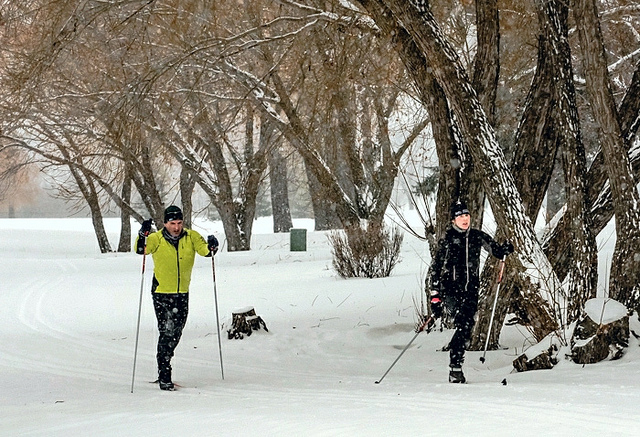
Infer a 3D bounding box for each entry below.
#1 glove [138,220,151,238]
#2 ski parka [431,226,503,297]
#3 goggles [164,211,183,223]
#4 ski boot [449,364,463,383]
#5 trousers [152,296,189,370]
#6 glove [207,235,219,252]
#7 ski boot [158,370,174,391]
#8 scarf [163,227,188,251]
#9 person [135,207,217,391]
[{"bbox_3d":[-2.681,0.163,11.330,0.167,0.246,0.093,12,-1,1],"label":"glove"},{"bbox_3d":[2.206,0.653,11.181,1.065,1.024,0.343,-2,6,-9],"label":"ski parka"},{"bbox_3d":[-2.198,-0.040,11.098,0.194,0.096,0.196,-2,-6,-29],"label":"goggles"},{"bbox_3d":[2.039,2.296,10.953,0.184,0.237,0.191,0,6,11],"label":"ski boot"},{"bbox_3d":[-2.243,1.717,11.222,0.430,1.392,0.548,4,6,13],"label":"trousers"},{"bbox_3d":[-1.608,0.376,11.098,0.155,0.229,0.087,0,7,11],"label":"glove"},{"bbox_3d":[-2.273,2.394,10.943,0.176,0.274,0.332,-5,7,-30],"label":"ski boot"},{"bbox_3d":[-2.222,0.306,11.227,0.240,0.344,0.169,-1,-12,-9],"label":"scarf"},{"bbox_3d":[-2.127,1.177,11.132,0.862,2.672,0.573,-4,6,-23],"label":"person"}]
